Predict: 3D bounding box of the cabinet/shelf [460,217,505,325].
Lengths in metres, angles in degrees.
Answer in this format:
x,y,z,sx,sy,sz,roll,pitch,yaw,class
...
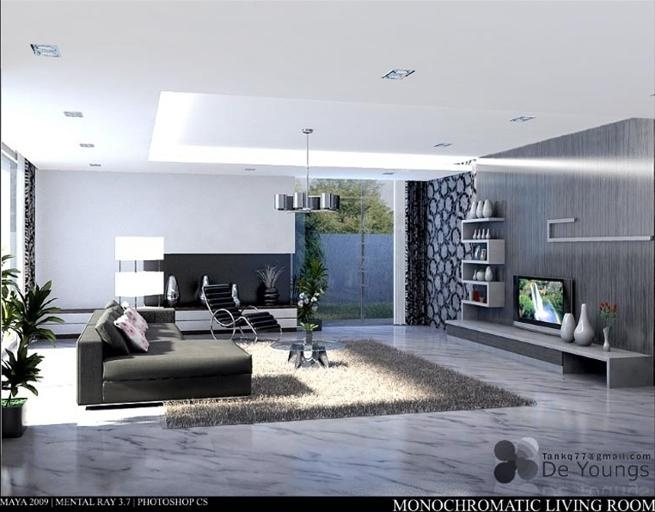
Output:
x,y,z,sx,sy,sz,roll,pitch,yaw,class
2.434,0.225,8.707,0.409,1.649,0.965,0,2,-11,cabinet/shelf

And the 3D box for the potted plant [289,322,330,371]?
x,y,z,sx,sy,sz,roll,pitch,yaw,class
-0.268,1.106,6.967,0.497,0.631,0.525,3,-8,-16,potted plant

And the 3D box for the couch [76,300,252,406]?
x,y,z,sx,sy,sz,roll,pitch,yaw,class
-1.783,1.033,5.962,1.616,0.752,1.807,0,2,-18,couch

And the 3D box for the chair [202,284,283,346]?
x,y,z,sx,sy,sz,roll,pitch,yaw,class
-1.356,0.954,8.691,1.192,0.896,0.738,5,3,27,chair

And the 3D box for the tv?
x,y,z,sx,sy,sz,roll,pitch,yaw,class
2.909,0.684,7.287,0.057,0.613,0.837,1,0,-18,tv

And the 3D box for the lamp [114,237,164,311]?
x,y,z,sx,sy,sz,roll,pitch,yaw,class
-2.798,0.301,8.296,0.811,1.202,3.281,0,2,-21,lamp

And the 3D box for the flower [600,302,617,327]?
x,y,z,sx,sy,sz,roll,pitch,yaw,class
3.264,0.695,6.370,0.184,0.309,0.351,1,2,28,flower

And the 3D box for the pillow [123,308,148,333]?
x,y,z,sx,sy,sz,roll,pitch,yaw,class
-2.222,0.733,6.313,0.078,0.288,0.297,-26,2,3,pillow
